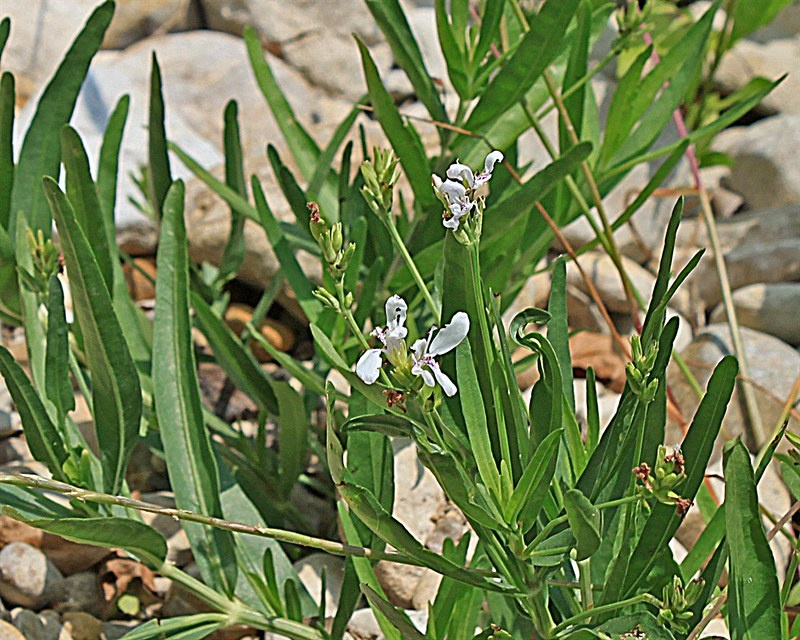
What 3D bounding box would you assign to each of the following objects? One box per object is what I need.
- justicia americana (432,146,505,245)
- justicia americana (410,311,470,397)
[{"bbox_3d":[0.080,-0.151,1.605,0.099,0.116,0.112,8,44,-4],"label":"justicia americana"},{"bbox_3d":[0.044,0.050,1.507,0.064,0.100,0.080,17,44,16],"label":"justicia americana"}]
